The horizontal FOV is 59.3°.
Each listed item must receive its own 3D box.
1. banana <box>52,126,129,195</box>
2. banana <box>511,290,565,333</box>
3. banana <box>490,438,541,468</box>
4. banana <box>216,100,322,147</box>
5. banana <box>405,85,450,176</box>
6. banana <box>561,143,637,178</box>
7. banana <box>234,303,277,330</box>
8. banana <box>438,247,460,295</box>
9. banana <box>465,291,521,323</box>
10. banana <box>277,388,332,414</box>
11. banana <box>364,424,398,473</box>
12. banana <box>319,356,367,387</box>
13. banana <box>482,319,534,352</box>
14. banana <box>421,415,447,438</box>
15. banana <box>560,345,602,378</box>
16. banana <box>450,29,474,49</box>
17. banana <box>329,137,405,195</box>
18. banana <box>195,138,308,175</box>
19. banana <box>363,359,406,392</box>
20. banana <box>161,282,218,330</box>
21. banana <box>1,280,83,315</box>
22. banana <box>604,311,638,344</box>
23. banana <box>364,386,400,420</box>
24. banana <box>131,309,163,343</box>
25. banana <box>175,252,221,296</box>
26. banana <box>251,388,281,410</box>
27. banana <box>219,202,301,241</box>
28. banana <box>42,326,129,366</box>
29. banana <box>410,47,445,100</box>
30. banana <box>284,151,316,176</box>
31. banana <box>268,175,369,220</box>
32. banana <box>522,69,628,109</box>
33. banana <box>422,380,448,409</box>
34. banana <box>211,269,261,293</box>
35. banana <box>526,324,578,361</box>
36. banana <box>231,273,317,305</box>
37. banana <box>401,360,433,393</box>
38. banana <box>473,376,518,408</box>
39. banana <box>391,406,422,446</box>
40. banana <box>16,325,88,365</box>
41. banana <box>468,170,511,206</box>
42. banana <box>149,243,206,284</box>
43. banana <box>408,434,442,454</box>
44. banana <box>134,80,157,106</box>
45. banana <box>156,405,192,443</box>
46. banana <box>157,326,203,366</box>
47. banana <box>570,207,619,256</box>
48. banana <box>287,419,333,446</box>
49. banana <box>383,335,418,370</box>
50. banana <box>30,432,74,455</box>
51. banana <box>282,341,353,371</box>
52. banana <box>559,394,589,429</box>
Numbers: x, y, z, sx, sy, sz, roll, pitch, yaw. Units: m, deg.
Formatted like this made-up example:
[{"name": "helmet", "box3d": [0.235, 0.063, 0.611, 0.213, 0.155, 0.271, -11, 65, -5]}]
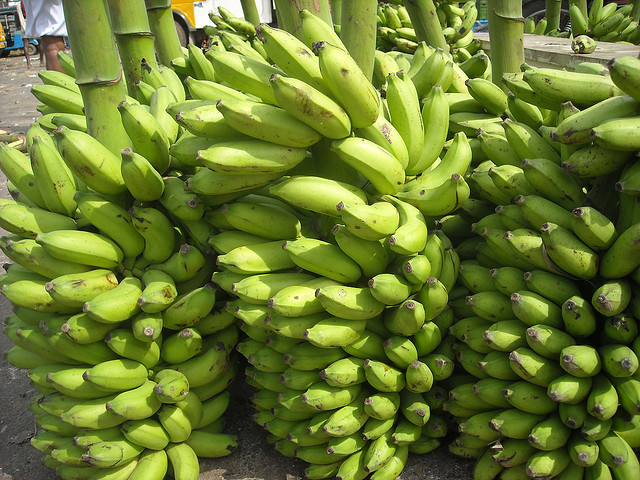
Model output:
[{"name": "banana", "box3d": [-1.007, -0.338, 2.477, 0.240, 0.339, 0.158, -15, 30, -19]}, {"name": "banana", "box3d": [0.900, 0.286, 2.380, 0.246, 0.118, 0.093, 32, -9, 1]}, {"name": "banana", "box3d": [0.835, 0.936, 2.395, 0.087, 0.126, 0.235, -17, -7, -9]}, {"name": "banana", "box3d": [-0.209, -0.481, 2.365, 0.439, 0.134, 0.131, 11, 40, 4]}, {"name": "banana", "box3d": [0.545, -0.538, 2.805, 0.195, 0.549, 0.148, 10, 6, 13]}, {"name": "banana", "box3d": [1.128, -0.333, 2.316, 0.397, 0.112, 0.138, -4, 4, -22]}, {"name": "banana", "box3d": [-0.286, 0.328, 2.486, 0.175, 0.097, 0.057, 9, -10, -1]}, {"name": "banana", "box3d": [0.606, 0.158, 2.613, 0.090, 0.250, 0.072, -16, 36, 2]}, {"name": "banana", "box3d": [0.756, 0.297, 2.420, 0.251, 0.124, 0.081, 17, -10, 0]}, {"name": "banana", "box3d": [-0.070, 0.728, 2.526, 0.320, 0.085, 0.112, 5, 66, -6]}, {"name": "banana", "box3d": [0.263, 0.924, 2.508, 0.077, 0.084, 0.258, 37, 54, 8]}, {"name": "banana", "box3d": [0.109, 0.572, 2.488, 0.263, 0.098, 0.123, 0, 31, -41]}, {"name": "banana", "box3d": [0.788, 0.398, 2.356, 0.200, 0.105, 0.071, -3, 12, -4]}, {"name": "banana", "box3d": [0.523, 0.850, 2.552, 0.115, 0.086, 0.065, 11, -18, 32]}, {"name": "banana", "box3d": [1.034, 0.472, 2.250, 0.154, 0.114, 0.095, -4, 19, -6]}, {"name": "banana", "box3d": [1.298, -1.786, 4.977, 0.164, 0.110, 0.471, 9, 29, 36]}, {"name": "banana", "box3d": [0.221, -0.341, 2.462, 0.337, 0.177, 0.118, 30, 0, -17]}, {"name": "banana", "box3d": [-0.298, -0.346, 2.401, 0.510, 0.176, 0.152, -6, -17, 1]}, {"name": "banana", "box3d": [0.287, 0.598, 2.462, 0.183, 0.190, 0.072, -11, 29, -13]}, {"name": "banana", "box3d": [-0.600, 0.308, 2.561, 0.150, 0.270, 0.170, 51, 20, 13]}, {"name": "banana", "box3d": [-1.225, 0.248, 2.490, 0.278, 0.075, 0.094, 16, 24, -19]}, {"name": "banana", "box3d": [1.201, 0.361, 2.273, 0.131, 0.101, 0.078, -26, -12, -28]}, {"name": "banana", "box3d": [0.273, 0.719, 2.471, 0.093, 0.098, 0.161, 15, 3, 21]}, {"name": "banana", "box3d": [-0.758, 0.374, 2.447, 0.116, 0.093, 0.155, -7, 16, -10]}, {"name": "banana", "box3d": [-0.583, 0.157, 2.632, 0.049, 0.080, 0.233, 1, 56, 42]}, {"name": "banana", "box3d": [-0.258, 0.747, 2.644, 0.167, 0.090, 0.061, 1, -7, 12]}, {"name": "banana", "box3d": [-0.276, -0.082, 2.556, 0.326, 0.156, 0.113, 13, -9, -19]}, {"name": "banana", "box3d": [-1.039, 0.463, 2.504, 0.304, 0.071, 0.104, 20, 26, -30]}, {"name": "banana", "box3d": [0.568, -0.882, 3.098, 0.105, 0.388, 0.138, 3, 56, -8]}, {"name": "banana", "box3d": [-0.093, -0.352, 2.547, 0.131, 0.144, 0.052, 4, -2, -8]}, {"name": "banana", "box3d": [0.001, -0.208, 2.429, 0.486, 0.163, 0.144, 4, 60, 14]}, {"name": "banana", "box3d": [1.155, -0.688, 2.522, 0.527, 0.175, 0.152, 20, 45, 39]}, {"name": "banana", "box3d": [0.530, 0.707, 2.602, 0.104, 0.132, 0.077, -13, 48, -3]}, {"name": "banana", "box3d": [-0.369, 0.178, 2.485, 0.276, 0.098, 0.078, -3, -11, 15]}, {"name": "banana", "box3d": [0.919, 0.412, 2.313, 0.230, 0.105, 0.087, 16, 8, -5]}, {"name": "banana", "box3d": [-0.223, 0.230, 2.498, 0.331, 0.109, 0.099, -1, 36, -4]}, {"name": "banana", "box3d": [0.427, 0.604, 2.459, 0.132, 0.195, 0.074, 1, 29, 9]}, {"name": "banana", "box3d": [0.766, 0.669, 2.460, 0.087, 0.142, 0.278, -8, -18, -3]}, {"name": "banana", "box3d": [0.385, 0.855, 2.559, 0.068, 0.109, 0.286, 27, 18, 10]}, {"name": "banana", "box3d": [-1.210, 0.468, 2.543, 0.097, 0.297, 0.078, -60, 19, -21]}, {"name": "banana", "box3d": [0.820, -0.287, 2.691, 0.275, 0.090, 0.074, 10, 12, -31]}, {"name": "banana", "box3d": [-0.682, 0.120, 2.664, 0.227, 0.116, 0.343, 1, -19, -36]}, {"name": "banana", "box3d": [0.483, 0.946, 2.591, 0.122, 0.088, 0.043, -7, 40, -19]}, {"name": "banana", "box3d": [-0.988, -0.831, 3.198, 0.075, 0.110, 0.193, 17, 18, -47]}, {"name": "banana", "box3d": [-0.660, 0.844, 2.567, 0.135, 0.076, 0.085, -20, 3, -32]}, {"name": "banana", "box3d": [-0.647, 0.494, 2.645, 0.239, 0.124, 0.105, -36, 1, 25]}, {"name": "banana", "box3d": [1.113, -0.035, 2.305, 0.135, 0.235, 0.118, -22, 38, 52]}, {"name": "banana", "box3d": [-0.085, 0.870, 2.567, 0.288, 0.083, 0.103, -6, -8, 28]}, {"name": "banana", "box3d": [0.353, 0.485, 2.504, 0.153, 0.118, 0.093, 37, -4, -31]}, {"name": "banana", "box3d": [-1.259, 0.949, 2.650, 0.199, 0.099, 0.072, 3, 5, 11]}, {"name": "banana", "box3d": [-0.026, 0.515, 2.545, 0.389, 0.111, 0.125, -2, 16, -11]}, {"name": "banana", "box3d": [1.018, 0.694, 2.246, 0.076, 0.138, 0.046, 12, 54, -3]}]
